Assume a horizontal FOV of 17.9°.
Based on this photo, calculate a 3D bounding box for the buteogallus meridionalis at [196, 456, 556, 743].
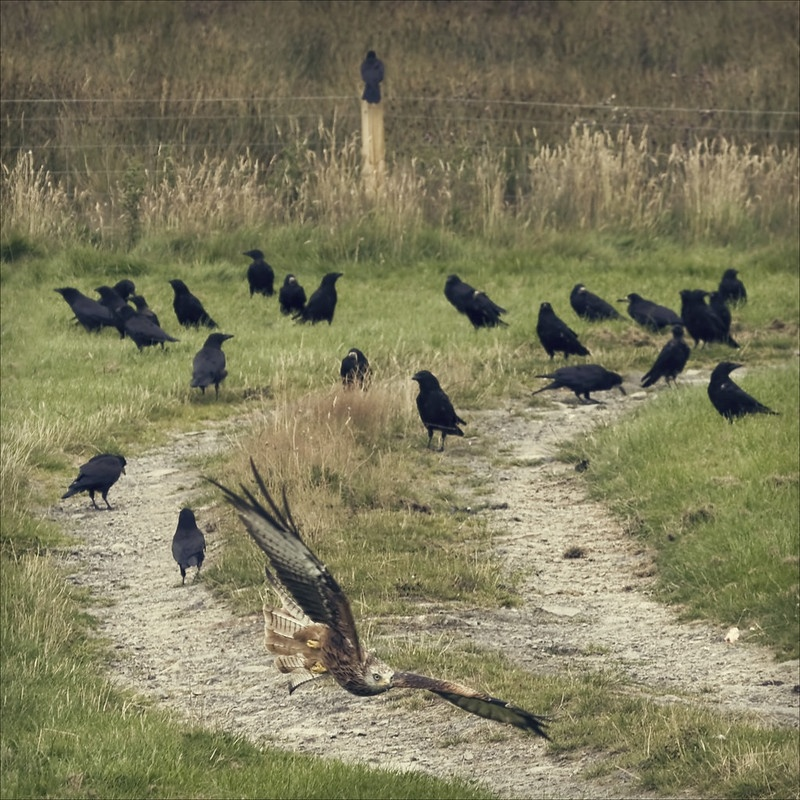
[{"bbox_3d":[-0.385,1.634,17.602,1.367,1.331,3.702,42,-1,44],"label":"buteogallus meridionalis"}]

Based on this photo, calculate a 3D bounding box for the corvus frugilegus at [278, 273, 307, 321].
[{"bbox_3d":[-1.026,-0.973,23.475,0.182,0.374,0.387,-5,-26,-12],"label":"corvus frugilegus"}]

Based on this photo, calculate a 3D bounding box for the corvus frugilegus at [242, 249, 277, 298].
[{"bbox_3d":[-1.300,-1.186,23.468,0.307,0.569,0.268,8,37,4],"label":"corvus frugilegus"}]

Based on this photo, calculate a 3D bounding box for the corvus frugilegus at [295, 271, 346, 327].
[{"bbox_3d":[-0.762,-0.958,23.372,0.418,0.476,0.343,-3,3,-10],"label":"corvus frugilegus"}]

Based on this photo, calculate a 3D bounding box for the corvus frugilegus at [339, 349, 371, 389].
[{"bbox_3d":[-0.398,-0.311,21.882,0.183,0.348,0.342,0,42,-1],"label":"corvus frugilegus"}]

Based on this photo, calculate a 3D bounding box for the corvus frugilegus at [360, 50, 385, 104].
[{"bbox_3d":[-0.257,-3.051,23.510,0.212,0.513,0.197,-2,3,-1],"label":"corvus frugilegus"}]
